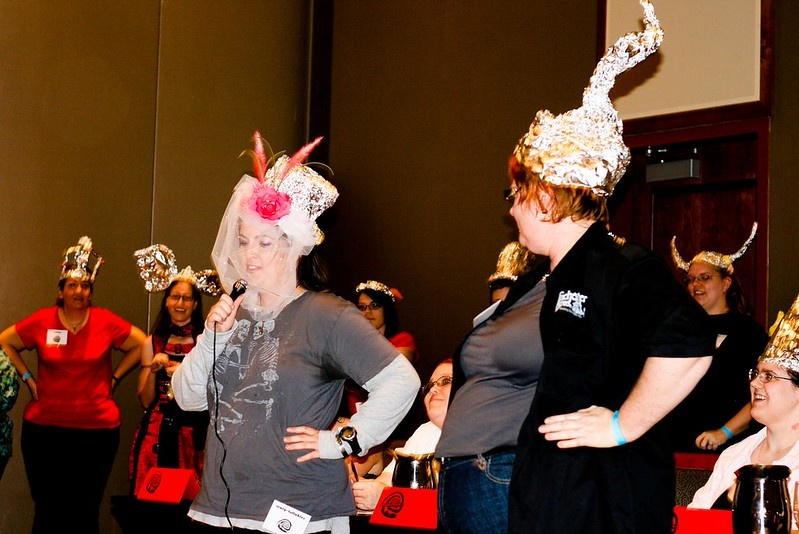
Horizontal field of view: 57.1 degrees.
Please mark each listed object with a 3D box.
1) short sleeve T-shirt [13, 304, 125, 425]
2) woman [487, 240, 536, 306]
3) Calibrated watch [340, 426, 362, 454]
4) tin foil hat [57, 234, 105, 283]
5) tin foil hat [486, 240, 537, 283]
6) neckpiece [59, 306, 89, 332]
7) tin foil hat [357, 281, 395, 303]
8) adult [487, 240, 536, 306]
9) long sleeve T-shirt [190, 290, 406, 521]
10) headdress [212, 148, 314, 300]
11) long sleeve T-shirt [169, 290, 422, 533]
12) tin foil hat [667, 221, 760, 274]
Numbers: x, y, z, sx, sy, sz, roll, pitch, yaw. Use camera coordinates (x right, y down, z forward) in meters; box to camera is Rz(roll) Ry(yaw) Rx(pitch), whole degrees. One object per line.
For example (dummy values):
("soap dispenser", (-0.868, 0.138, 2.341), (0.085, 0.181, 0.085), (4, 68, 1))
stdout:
("short sleeve T-shirt", (-2.605, 0.796, 5.863), (0.947, 0.934, 0.469), (2, 1, -20))
("woman", (0.843, 0.062, 5.653), (0.246, 0.597, 0.315), (5, -43, 24))
("Calibrated watch", (-0.199, 0.693, 2.889), (0.106, 0.066, 0.106), (44, -24, 12))
("tin foil hat", (-2.612, -0.015, 6.008), (0.269, 0.429, 0.124), (6, -30, -22))
("tin foil hat", (0.783, -0.031, 5.147), (0.189, 0.252, 0.246), (42, -28, -7))
("neckpiece", (-2.582, 0.425, 5.811), (0.154, 0.214, 0.077), (2, -9, -20))
("tin foil hat", (-0.205, 0.184, 5.913), (0.185, 0.107, 0.215), (12, -4, -18))
("adult", (0.839, 0.068, 5.655), (0.269, 0.647, 0.337), (1, -48, 21))
("long sleeve T-shirt", (-0.510, 0.604, 3.104), (1.181, 0.948, 0.547), (-11, -17, 33))
("headdress", (-0.676, -0.204, 3.236), (0.359, 0.814, 0.301), (19, -21, -39))
("long sleeve T-shirt", (-0.465, 0.684, 3.203), (1.145, 0.948, 0.532), (-8, -21, 35))
("tin foil hat", (2.305, -0.092, 5.458), (0.643, 0.434, 0.334), (-11, -31, 40))
